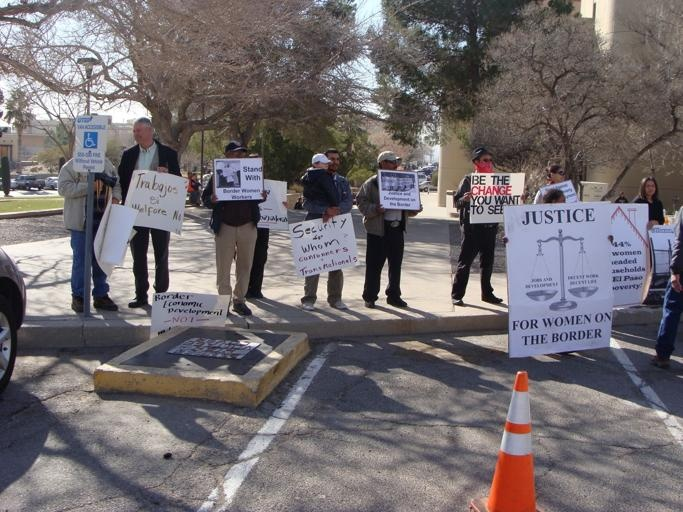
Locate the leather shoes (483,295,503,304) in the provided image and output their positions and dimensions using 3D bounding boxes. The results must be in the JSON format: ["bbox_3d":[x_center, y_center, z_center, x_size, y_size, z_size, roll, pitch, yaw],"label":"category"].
[{"bbox_3d":[2.328,0.672,9.000,0.347,0.157,0.121,5,7,18],"label":"leather shoes"}]

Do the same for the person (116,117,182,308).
[{"bbox_3d":[-2.638,-0.562,8.032,0.810,2.619,0.951,-3,11,-21],"label":"person"}]

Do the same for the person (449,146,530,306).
[{"bbox_3d":[2.080,-0.465,8.975,0.873,2.362,0.872,0,10,-6],"label":"person"}]

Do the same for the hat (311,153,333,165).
[{"bbox_3d":[-0.276,-1.353,8.209,0.231,0.128,0.184,-3,14,-6],"label":"hat"}]

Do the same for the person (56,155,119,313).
[{"bbox_3d":[-3.383,-0.287,7.869,0.969,2.065,0.687,8,12,34],"label":"person"}]

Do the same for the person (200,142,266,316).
[{"bbox_3d":[-1.450,-0.164,8.074,0.764,1.863,0.994,-2,11,-19],"label":"person"}]

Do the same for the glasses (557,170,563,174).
[{"bbox_3d":[3.253,-1.246,8.630,0.053,0.071,0.060,10,13,40],"label":"glasses"}]

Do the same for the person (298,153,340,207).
[{"bbox_3d":[-0.315,-1.059,8.347,0.517,0.791,0.371,0,10,-4],"label":"person"}]

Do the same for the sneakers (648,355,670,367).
[{"bbox_3d":[3.645,1.225,6.679,0.097,0.101,0.213,-5,9,-25],"label":"sneakers"}]

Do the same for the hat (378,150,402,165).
[{"bbox_3d":[0.697,-1.433,8.446,0.325,0.184,0.250,-1,8,14],"label":"hat"}]

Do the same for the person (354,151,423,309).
[{"bbox_3d":[0.605,-0.215,8.490,0.802,1.934,0.469,1,10,1],"label":"person"}]

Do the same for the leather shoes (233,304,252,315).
[{"bbox_3d":[-1.358,0.737,7.906,0.264,0.117,0.117,4,4,39],"label":"leather shoes"}]

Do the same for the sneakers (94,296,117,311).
[{"bbox_3d":[-3.237,0.656,8.010,0.398,0.187,0.153,5,8,8],"label":"sneakers"}]
